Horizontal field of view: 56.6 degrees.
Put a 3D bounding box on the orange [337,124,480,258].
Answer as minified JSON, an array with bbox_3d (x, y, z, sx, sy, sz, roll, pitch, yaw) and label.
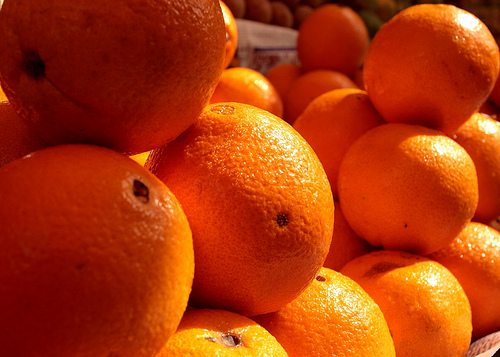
[{"bbox_3d":[0.304,0.009,1.023,0.270,0.272,0.285,-19,98,9],"label":"orange"}]

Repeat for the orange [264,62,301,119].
[{"bbox_3d":[0.114,-0.307,1.593,0.157,0.176,0.225,2,98,6],"label":"orange"}]

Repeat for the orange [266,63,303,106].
[{"bbox_3d":[0.115,-0.327,1.574,0.132,0.146,0.189,2,91,-5],"label":"orange"}]

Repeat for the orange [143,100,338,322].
[{"bbox_3d":[-0.005,0.105,0.811,0.306,0.364,0.459,9,70,-12],"label":"orange"}]

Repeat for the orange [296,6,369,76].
[{"bbox_3d":[0.257,-0.453,1.616,0.213,0.239,0.300,-3,107,-1],"label":"orange"}]

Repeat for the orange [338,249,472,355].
[{"bbox_3d":[0.312,0.284,0.957,0.188,0.213,0.198,10,32,7],"label":"orange"}]

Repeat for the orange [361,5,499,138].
[{"bbox_3d":[0.382,-0.228,1.011,0.243,0.226,0.231,1,56,-17],"label":"orange"}]

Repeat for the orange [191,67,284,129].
[{"bbox_3d":[-0.032,-0.228,1.311,0.182,0.220,0.202,-29,106,-9],"label":"orange"}]

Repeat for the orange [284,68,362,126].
[{"bbox_3d":[0.238,-0.225,1.479,0.201,0.171,0.188,-6,66,-57],"label":"orange"}]
